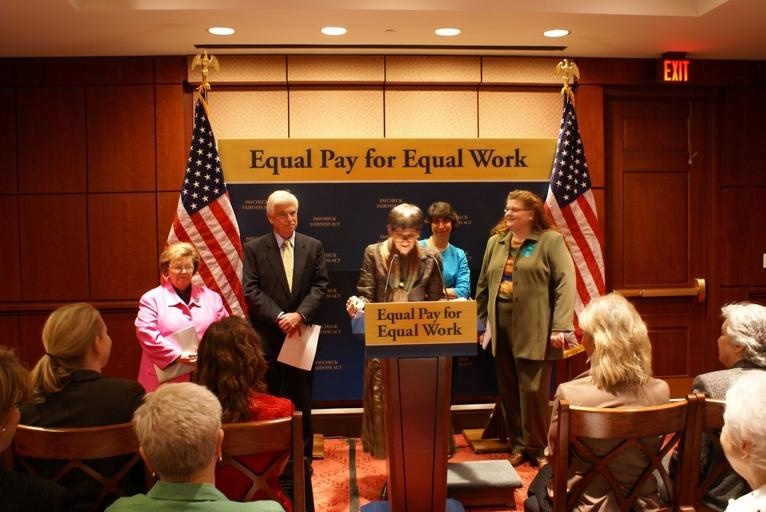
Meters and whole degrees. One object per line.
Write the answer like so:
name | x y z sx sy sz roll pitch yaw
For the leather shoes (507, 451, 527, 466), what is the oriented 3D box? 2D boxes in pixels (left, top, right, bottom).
leather shoes | 1.085 1.640 5.312 0.072 0.085 0.203 -4 -8 36

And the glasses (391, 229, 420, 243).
glasses | 0.150 -0.142 4.477 0.189 0.085 0.118 0 1 -1

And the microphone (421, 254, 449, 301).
microphone | 0.357 0.142 4.723 0.206 0.309 0.099 0 -1 1
